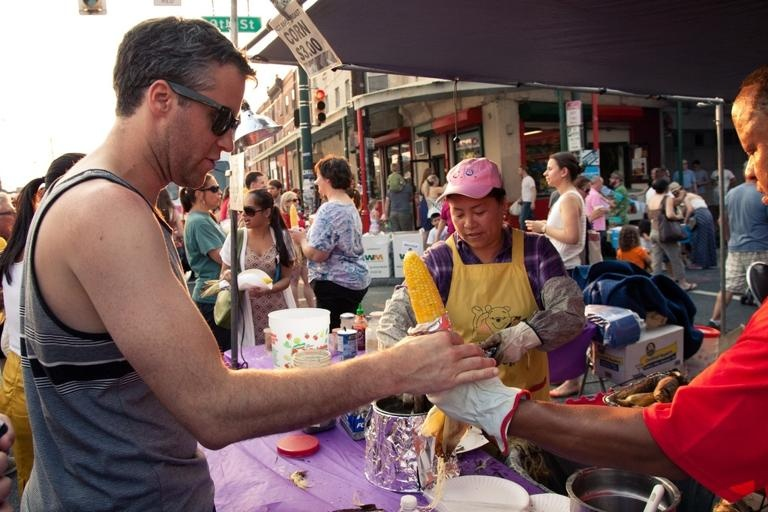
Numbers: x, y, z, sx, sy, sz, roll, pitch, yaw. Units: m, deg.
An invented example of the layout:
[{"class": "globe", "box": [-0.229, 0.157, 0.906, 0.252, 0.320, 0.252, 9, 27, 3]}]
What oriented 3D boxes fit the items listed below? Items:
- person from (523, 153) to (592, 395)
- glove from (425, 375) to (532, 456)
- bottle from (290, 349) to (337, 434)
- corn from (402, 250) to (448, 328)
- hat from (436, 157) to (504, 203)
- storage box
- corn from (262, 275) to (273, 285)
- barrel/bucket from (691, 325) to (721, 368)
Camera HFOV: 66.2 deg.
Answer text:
[{"class": "person", "box": [1.826, 0.051, 6.482, 0.667, 2.278, 0.705, 4, 13, 14]}, {"class": "glove", "box": [0.378, 0.577, 2.312, 0.312, 0.158, 0.275, 18, 50, 26]}, {"class": "bottle", "box": [-0.354, 0.713, 3.091, 0.257, 0.424, 0.258, -3, -8, 0]}, {"class": "corn", "box": [0.174, 0.132, 2.644, 0.112, 0.421, 0.113, -5, -32, -12]}, {"class": "hat", "box": [0.507, -0.465, 3.455, 0.333, 0.234, 0.467, 0, 11, 34]}, {"class": "storage box", "box": [2.009, 0.737, 4.464, 0.717, 0.495, 0.554, -4, 2, -27]}, {"class": "corn", "box": [-0.933, 0.192, 4.707, 0.062, 0.052, 0.070, -10, -19, 5]}, {"class": "barrel/bucket", "box": [2.640, 0.740, 4.882, 0.284, 0.323, 0.288, -2, 1, 0]}]
